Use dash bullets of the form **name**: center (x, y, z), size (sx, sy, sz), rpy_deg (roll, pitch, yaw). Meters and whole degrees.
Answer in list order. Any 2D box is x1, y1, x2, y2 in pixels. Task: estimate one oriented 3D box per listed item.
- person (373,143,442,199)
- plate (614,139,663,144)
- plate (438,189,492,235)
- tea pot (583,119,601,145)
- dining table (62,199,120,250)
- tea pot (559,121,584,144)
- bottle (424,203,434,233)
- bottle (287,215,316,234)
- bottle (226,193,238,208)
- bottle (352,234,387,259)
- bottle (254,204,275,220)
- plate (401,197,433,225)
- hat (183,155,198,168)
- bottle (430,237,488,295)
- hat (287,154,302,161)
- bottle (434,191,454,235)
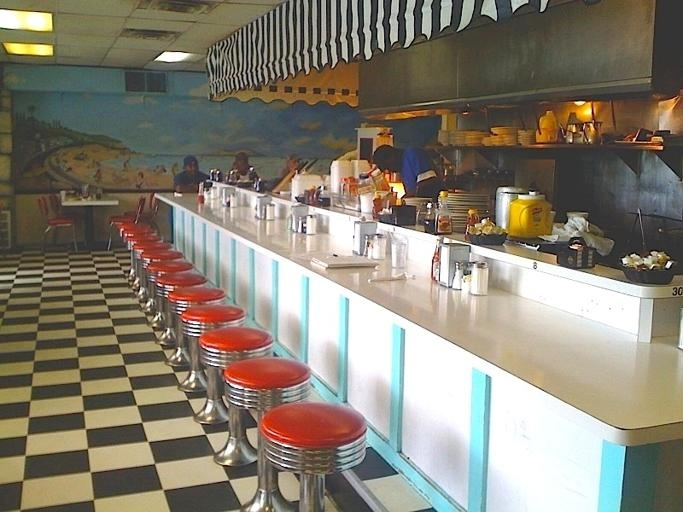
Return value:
- **person**: center (0.642, -0.823, 5.270), size (0.500, 0.478, 1.226), rpy_deg (-1, 11, -8)
- **plate**: center (2.768, -1.081, 5.111), size (0.131, 0.056, 0.371), rpy_deg (-10, 15, -41)
- **plate**: center (0.808, -0.299, 3.643), size (0.318, 0.225, 0.258), rpy_deg (1, 6, 6)
- **tea pot**: center (2.474, -1.230, 5.395), size (0.175, 0.233, 0.278), rpy_deg (9, 14, 35)
- **dining table**: center (-4.439, -0.635, 9.922), size (1.060, 1.004, 1.046), rpy_deg (-2, 4, -31)
- **tea pot**: center (2.349, -1.256, 5.559), size (0.206, 0.220, 0.260), rpy_deg (11, 20, 40)
- **bottle**: center (0.581, -0.253, 3.601), size (0.061, 0.176, 0.252), rpy_deg (2, 11, 9)
- **bottle**: center (-0.366, -0.290, 4.969), size (0.105, 0.140, 0.352), rpy_deg (-2, 9, -29)
- **bottle**: center (-1.383, -0.706, 6.957), size (0.162, 0.171, 0.164), rpy_deg (6, 8, 30)
- **bottle**: center (0.187, -0.070, 3.798), size (0.203, 0.143, 0.152), rpy_deg (-4, 11, -24)
- **bottle**: center (-0.809, -0.479, 5.893), size (0.243, 0.156, 0.122), rpy_deg (8, 10, 30)
- **plate**: center (0.518, -0.331, 3.930), size (0.240, 0.238, 0.140), rpy_deg (-6, 10, -19)
- **hat**: center (-3.029, -1.894, 10.986), size (0.271, 0.199, 0.192), rpy_deg (-8, 22, -12)
- **bottle**: center (0.687, 0.048, 3.082), size (0.220, 0.257, 0.431), rpy_deg (-5, 13, -26)
- **hat**: center (-0.989, -2.112, 11.672), size (0.163, 0.148, 0.043), rpy_deg (-1, 12, -19)
- **bottle**: center (0.649, -0.278, 3.481), size (0.097, 0.266, 0.148), rpy_deg (3, 11, 10)
